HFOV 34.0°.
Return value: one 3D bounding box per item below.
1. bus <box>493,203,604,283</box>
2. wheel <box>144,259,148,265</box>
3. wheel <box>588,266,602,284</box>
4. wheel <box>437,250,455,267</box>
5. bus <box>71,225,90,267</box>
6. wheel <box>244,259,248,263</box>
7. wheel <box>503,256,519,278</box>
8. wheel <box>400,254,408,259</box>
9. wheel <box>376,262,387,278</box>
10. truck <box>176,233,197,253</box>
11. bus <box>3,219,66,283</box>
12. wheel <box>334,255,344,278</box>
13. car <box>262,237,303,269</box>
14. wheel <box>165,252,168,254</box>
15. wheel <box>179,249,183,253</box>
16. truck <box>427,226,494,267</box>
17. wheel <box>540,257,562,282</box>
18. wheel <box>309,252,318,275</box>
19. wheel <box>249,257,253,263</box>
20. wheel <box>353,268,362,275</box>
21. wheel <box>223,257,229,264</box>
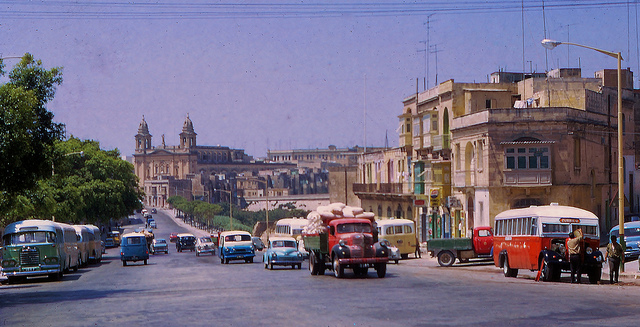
[{"bbox_3d":[19.810,6.684,90.778,6.027,5.860,10.898,2,-4,-15],"label":"bus"},{"bbox_3d":[-18.170,10.106,108.931,0.469,0.436,0.330,-1,-7,4],"label":"wheel"},{"bbox_3d":[22.908,9.013,86.274,1.045,1.397,0.854,-3,-7,8],"label":"wheel"},{"bbox_3d":[12.198,8.828,99.130,1.507,1.442,0.559,0,-8,6],"label":"wheel"},{"bbox_3d":[-24.491,8.274,107.585,0.511,4.264,6.097,-2,-7,-4],"label":"bus"},{"bbox_3d":[-7.364,9.677,105.795,0.258,0.319,0.377,-1,-7,-6],"label":"wheel"},{"bbox_3d":[16.677,8.716,90.057,0.722,1.823,1.864,3,0,-16],"label":"wheel"},{"bbox_3d":[8.915,9.407,108.243,0.723,0.468,0.406,0,-4,-5],"label":"wheel"},{"bbox_3d":[5.329,8.839,88.797,0.529,1.327,1.354,-1,-2,-2],"label":"wheel"},{"bbox_3d":[-17.217,9.920,134.573,1.817,1.519,2.952,1,1,-12],"label":"truck"},{"bbox_3d":[-26.020,7.733,94.708,5.328,5.596,2.670,1,-8,-22],"label":"bus"},{"bbox_3d":[1.746,8.506,88.593,0.703,1.984,2.028,-5,1,-10],"label":"wheel"},{"bbox_3d":[-3.517,8.112,100.462,3.382,2.525,5.750,0,5,-12],"label":"car"},{"bbox_3d":[-18.903,10.759,129.051,0.164,0.277,0.301,4,-8,-26],"label":"wheel"},{"bbox_3d":[-17.733,10.873,133.587,0.424,0.396,0.230,3,-10,-27],"label":"wheel"},{"bbox_3d":[14.527,7.685,100.500,7.632,3.330,3.752,-4,0,10],"label":"truck"},{"bbox_3d":[19.362,8.564,86.573,0.777,1.933,1.978,3,-2,-5],"label":"wheel"},{"bbox_3d":[-0.415,8.563,91.668,0.668,1.977,2.019,1,3,-12],"label":"wheel"},{"bbox_3d":[-6.877,9.559,105.736,0.471,0.453,0.850,-2,-3,2],"label":"wheel"},{"bbox_3d":[3.396,9.162,90.268,0.584,0.165,0.570,0,-43,0],"label":"wheel"},{"bbox_3d":[-9.374,9.663,105.250,0.524,0.502,0.384,1,-8,-12],"label":"wheel"}]
